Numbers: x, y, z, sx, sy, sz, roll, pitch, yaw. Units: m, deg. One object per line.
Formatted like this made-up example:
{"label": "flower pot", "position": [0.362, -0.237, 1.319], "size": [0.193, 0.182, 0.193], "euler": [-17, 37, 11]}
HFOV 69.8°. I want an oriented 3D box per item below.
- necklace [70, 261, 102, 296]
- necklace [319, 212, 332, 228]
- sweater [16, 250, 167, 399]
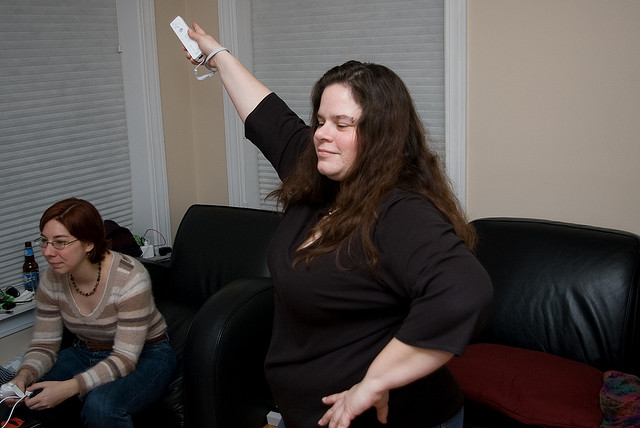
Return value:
{"label": "necklace", "position": [-1.128, 0.298, 2.183], "size": [0.133, 0.178, 0.020], "euler": [-1, 8, 6]}
{"label": "necklace", "position": [0.016, 0.019, 1.277], "size": [0.030, 0.032, 0.033], "euler": [-2, 14, 8]}
{"label": "sweater", "position": [-1.127, 0.500, 2.314], "size": [0.790, 0.544, 0.716], "euler": [-7, 13, -40]}
